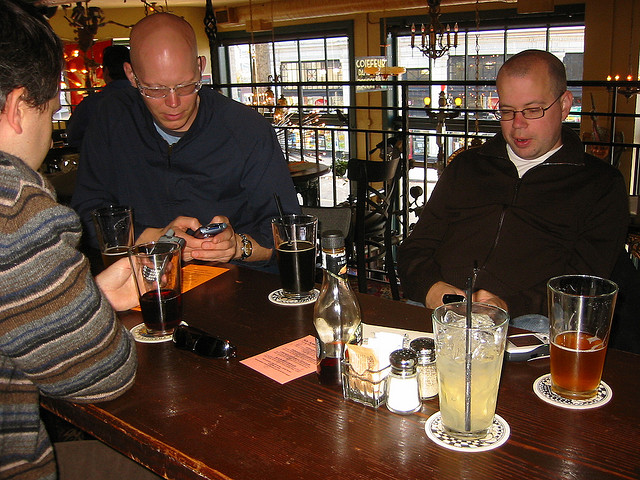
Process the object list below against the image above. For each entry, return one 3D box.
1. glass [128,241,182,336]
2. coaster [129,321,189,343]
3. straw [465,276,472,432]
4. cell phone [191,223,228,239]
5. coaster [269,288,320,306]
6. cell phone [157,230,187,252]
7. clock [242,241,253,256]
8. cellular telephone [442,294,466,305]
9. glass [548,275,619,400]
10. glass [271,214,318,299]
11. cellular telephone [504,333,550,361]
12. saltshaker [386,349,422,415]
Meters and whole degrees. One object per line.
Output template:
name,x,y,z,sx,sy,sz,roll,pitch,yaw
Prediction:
glass,-0.424,0.130,1.358,0.126,0.236,0.165,0,10,7
coaster,-0.470,0.255,1.325,0.092,0.009,0.091,14,25,19
straw,0.283,0.226,0.918,0.015,0.315,0.015,3,-21,13
cell phone,-0.383,-0.031,1.703,0.171,0.051,0.039,-16,37,52
coaster,-0.086,0.176,1.472,0.089,0.009,0.087,4,19,16
cell phone,-0.480,-0.007,1.585,0.058,0.075,0.027,17,-9,22
clock,-0.282,0.032,1.927,0.012,0.047,0.051,10,14,41
cellular telephone,0.354,0.154,1.298,0.068,0.033,0.027,4,5,9
glass,0.561,0.225,1.080,0.126,0.269,0.140,-3,11,-2
glass,-0.068,0.052,1.490,0.133,0.232,0.106,-4,13,-2
cellular telephone,0.500,0.252,1.173,0.091,0.025,0.067,-4,20,3
saltshaker,0.174,0.291,1.010,0.076,0.139,0.068,-2,14,8
